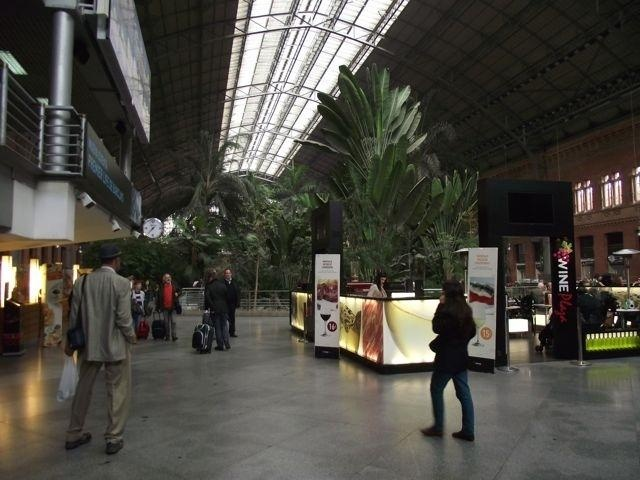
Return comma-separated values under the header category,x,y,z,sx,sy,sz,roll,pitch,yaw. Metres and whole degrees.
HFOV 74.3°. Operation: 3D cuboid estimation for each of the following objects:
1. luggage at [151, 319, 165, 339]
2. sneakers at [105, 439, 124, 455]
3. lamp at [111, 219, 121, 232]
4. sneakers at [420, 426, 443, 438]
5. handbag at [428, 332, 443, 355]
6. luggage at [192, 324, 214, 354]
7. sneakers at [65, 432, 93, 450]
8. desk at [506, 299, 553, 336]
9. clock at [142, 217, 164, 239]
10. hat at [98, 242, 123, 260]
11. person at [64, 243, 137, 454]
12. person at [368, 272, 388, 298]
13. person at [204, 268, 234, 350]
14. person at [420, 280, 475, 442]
category,x,y,z,sx,sy,sz,roll,pitch,yaw
luggage,-5.232,2.916,13.664,0.412,0.615,0.337,2,-6,-23
sneakers,-2.393,2.380,4.910,0.209,0.140,0.211,3,-7,-34
lamp,-5.587,-0.414,11.496,0.185,0.191,0.317,-18,-24,-9
sneakers,1.409,2.409,5.363,0.288,0.150,0.112,5,-7,4
handbag,1.481,1.327,5.350,0.048,0.239,0.159,7,-8,-17
luggage,-3.077,2.563,11.002,0.515,0.736,0.434,1,-6,-14
sneakers,-2.881,2.393,5.088,0.103,0.162,0.325,2,6,34
desk,6.504,2.429,13.168,1.734,1.311,0.934,1,-3,-29
clock,-7.749,-0.604,19.521,0.741,0.878,0.987,1,-6,-16
hat,-2.616,0.144,5.291,0.202,0.102,0.248,0,8,2
person,-2.633,1.251,5.047,0.784,2.417,0.340,-1,-6,0
person,1.482,1.145,10.730,0.406,0.833,0.307,21,-31,-36
person,-2.763,1.890,11.413,0.644,2.175,0.836,0,-6,-9
person,1.648,1.502,5.343,0.628,1.963,0.298,-2,-6,13
